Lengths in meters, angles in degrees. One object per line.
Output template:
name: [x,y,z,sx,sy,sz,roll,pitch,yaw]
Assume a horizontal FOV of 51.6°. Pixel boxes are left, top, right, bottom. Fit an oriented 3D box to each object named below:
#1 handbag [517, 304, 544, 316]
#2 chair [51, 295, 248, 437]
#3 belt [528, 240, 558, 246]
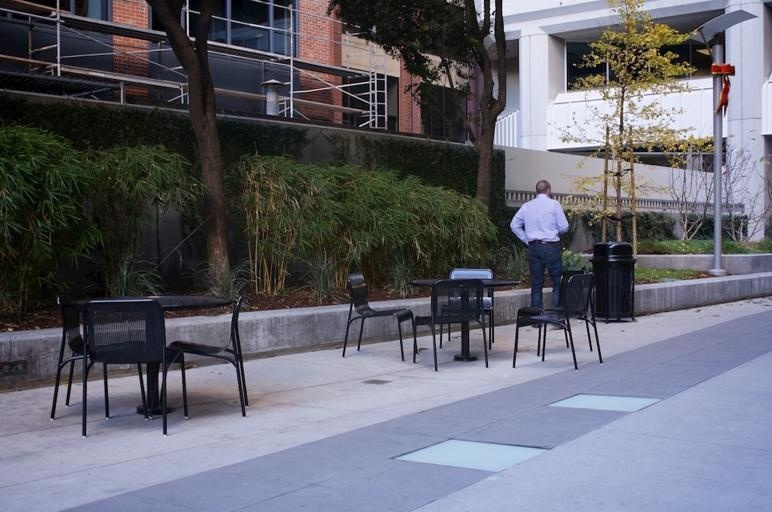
handbag: [2.127,0.819,11.590,0.336,0.184,0.597,1,8,12]
chair: [-2.727,1.097,9.072,2.215,1.443,1.298,0,8,0]
belt: [2.728,-0.223,13.688,0.483,0.119,0.132,2,8,18]
